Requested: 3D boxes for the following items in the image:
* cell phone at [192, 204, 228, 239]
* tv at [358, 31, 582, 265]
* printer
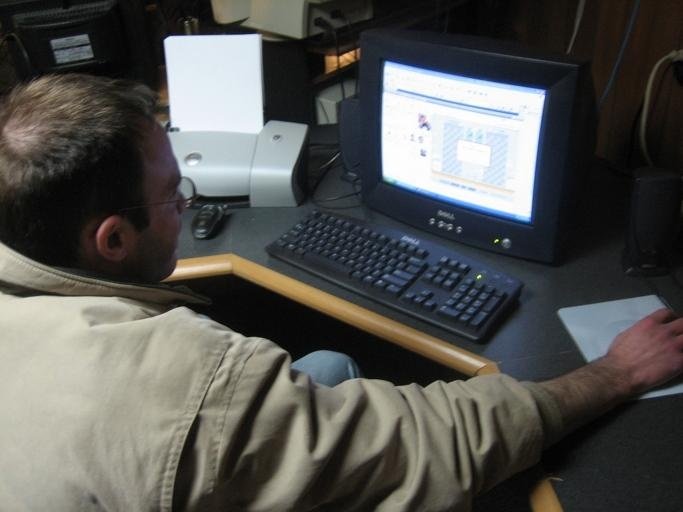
[{"bbox_3d":[-0.343,-0.089,1.439,0.051,0.033,0.113,8,40,8],"label":"cell phone"},{"bbox_3d":[0.316,-0.321,1.362,0.491,0.450,0.311,17,44,25],"label":"tv"},{"bbox_3d":[-0.271,-0.252,1.506,0.294,0.105,0.243,2,40,-1],"label":"printer"}]
